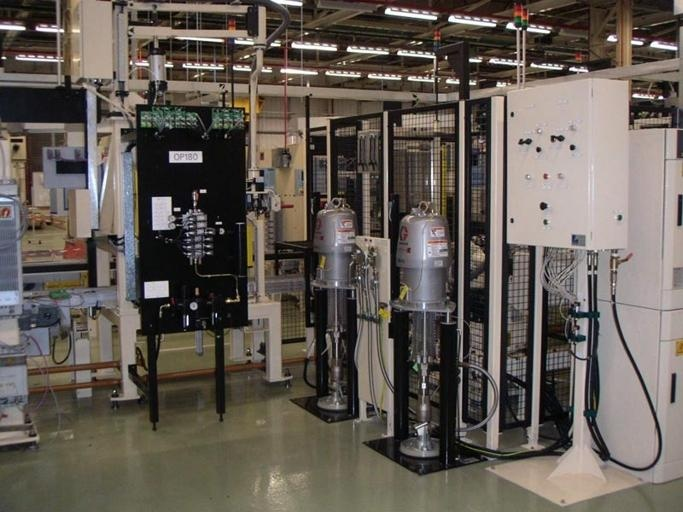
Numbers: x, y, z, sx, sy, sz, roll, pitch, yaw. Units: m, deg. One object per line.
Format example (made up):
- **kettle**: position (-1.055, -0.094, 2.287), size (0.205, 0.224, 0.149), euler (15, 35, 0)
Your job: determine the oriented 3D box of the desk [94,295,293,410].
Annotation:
- **desk**: position (-1.594, 0.548, 7.291), size (1.670, 1.091, 1.098), euler (-3, 8, -29)
